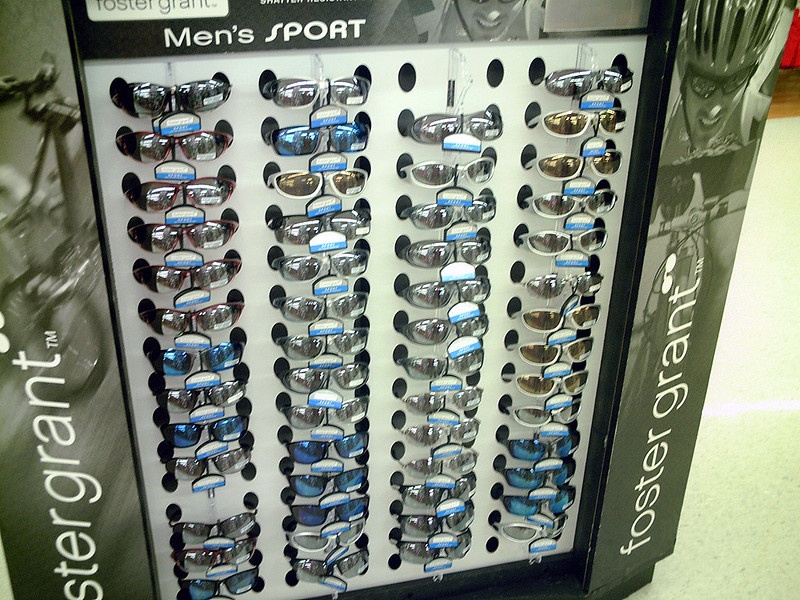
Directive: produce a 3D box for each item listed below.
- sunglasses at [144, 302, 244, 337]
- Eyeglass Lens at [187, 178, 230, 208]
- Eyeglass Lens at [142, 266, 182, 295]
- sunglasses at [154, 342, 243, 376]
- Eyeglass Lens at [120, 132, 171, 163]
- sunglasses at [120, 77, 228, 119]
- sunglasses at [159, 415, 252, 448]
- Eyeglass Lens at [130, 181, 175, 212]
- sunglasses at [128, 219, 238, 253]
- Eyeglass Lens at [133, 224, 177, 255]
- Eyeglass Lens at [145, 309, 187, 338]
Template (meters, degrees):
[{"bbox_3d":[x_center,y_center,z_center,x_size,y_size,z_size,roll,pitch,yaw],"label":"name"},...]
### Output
[{"bbox_3d":[-0.453,0.043,1.433,0.262,0.086,0.062,-2,24,-14],"label":"sunglasses"},{"bbox_3d":[-0.397,-0.228,1.382,0.065,0.024,0.065,-7,24,-23],"label":"Eyeglass Lens"},{"bbox_3d":[-0.503,-0.046,1.400,0.060,0.024,0.060,7,14,-16],"label":"Eyeglass Lens"},{"bbox_3d":[-0.448,0.137,1.473,0.193,0.081,0.037,-6,28,-6],"label":"sunglasses"},{"bbox_3d":[-0.517,-0.310,1.336,0.075,0.031,0.076,3,33,-14],"label":"Eyeglass Lens"},{"bbox_3d":[-0.461,-0.405,1.325,0.263,0.097,0.071,-2,20,-7],"label":"sunglasses"},{"bbox_3d":[-0.445,0.308,1.528,0.190,0.090,0.050,-8,28,-10],"label":"sunglasses"},{"bbox_3d":[-0.506,-0.213,1.362,0.065,0.024,0.065,-4,26,-13],"label":"Eyeglass Lens"},{"bbox_3d":[-0.459,-0.136,1.389,0.256,0.083,0.061,-2,30,-10],"label":"sunglasses"},{"bbox_3d":[-0.511,-0.132,1.383,0.067,0.027,0.067,4,18,-13],"label":"Eyeglass Lens"},{"bbox_3d":[-0.501,0.045,1.424,0.065,0.026,0.065,6,9,-15],"label":"Eyeglass Lens"}]
